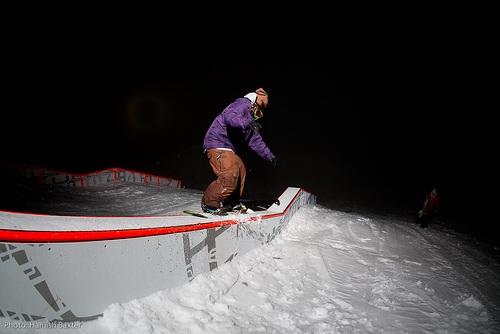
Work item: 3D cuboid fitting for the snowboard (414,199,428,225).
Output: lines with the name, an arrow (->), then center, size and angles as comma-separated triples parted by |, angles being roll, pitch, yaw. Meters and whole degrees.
snowboard -> 5.755, 1.515, 11.156 | 0.231, 0.792, 0.597 | 8, 5, 4

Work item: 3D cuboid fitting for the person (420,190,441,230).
person -> 5.903, 1.394, 11.017 | 0.393, 1.194, 0.912 | 11, 6, 34

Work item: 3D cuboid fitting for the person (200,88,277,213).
person -> -0.330, -0.368, 7.215 | 1.292, 2.808, 0.755 | 7, 5, -10

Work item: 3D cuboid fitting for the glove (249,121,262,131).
glove -> 0.113, -0.846, 6.840 | 0.213, 0.197, 0.225 | 11, 6, 36
